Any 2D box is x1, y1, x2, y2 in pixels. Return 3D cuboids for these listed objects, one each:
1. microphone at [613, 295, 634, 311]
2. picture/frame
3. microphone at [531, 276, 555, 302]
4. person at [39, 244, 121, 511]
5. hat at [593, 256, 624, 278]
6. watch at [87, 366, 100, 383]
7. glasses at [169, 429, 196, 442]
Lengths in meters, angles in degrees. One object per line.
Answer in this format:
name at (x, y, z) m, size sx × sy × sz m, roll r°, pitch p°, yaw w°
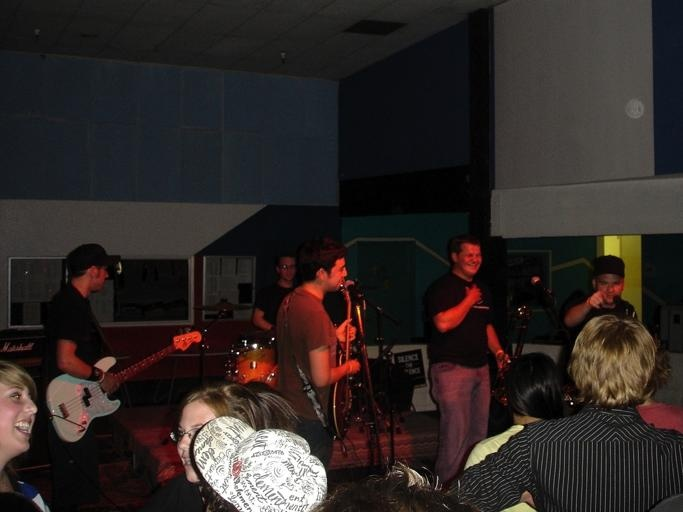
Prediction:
microphone at (1.985, 0.336, 4.471) m, size 0.100 × 0.047 × 0.134 m, roll 14°, pitch 16°, yaw -9°
picture/frame at (-2.198, 0.376, 7.008) m, size 1.024 × 0.732 × 0.043 m, roll -3°, pitch 2°, yaw 2°
microphone at (1.801, 0.296, 5.716) m, size 0.095 × 0.298 × 0.124 m, roll -18°, pitch -5°, yaw 18°
person at (-1.861, 0.904, 4.566) m, size 0.508 × 1.701 × 1.082 m, roll -5°, pitch 2°, yaw -23°
hat at (1.895, 0.074, 4.497) m, size 0.164 × 0.137 × 0.165 m, roll 2°, pitch -1°, yaw -12°
watch at (-1.647, 0.784, 4.214) m, size 0.053 × 0.093 × 0.098 m, roll -3°, pitch 2°, yaw 17°
glasses at (-0.566, 0.635, 2.261) m, size 0.089 × 0.030 × 0.083 m, roll 10°, pitch -13°, yaw -41°
